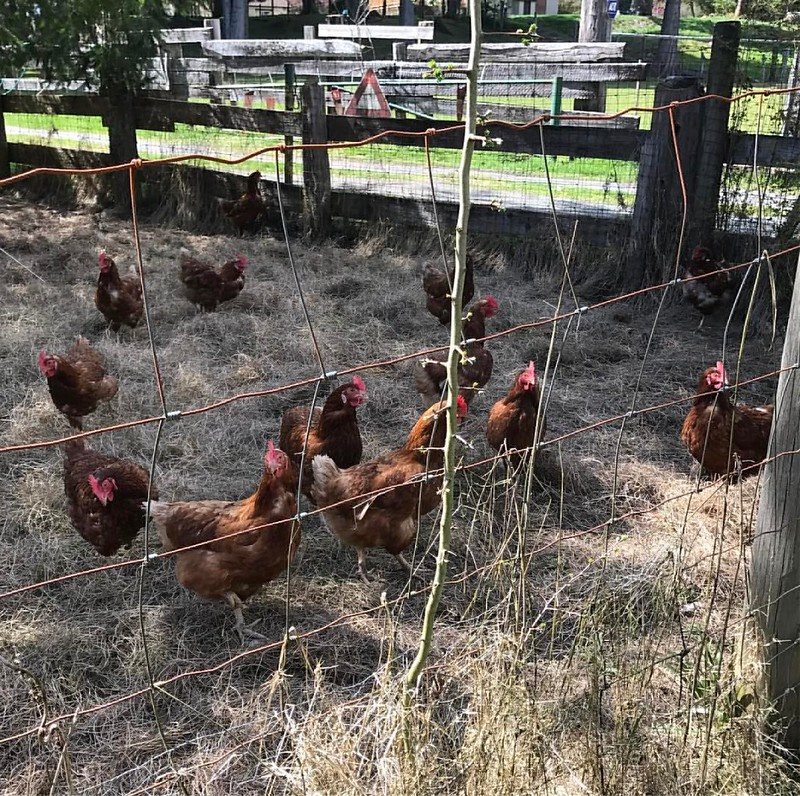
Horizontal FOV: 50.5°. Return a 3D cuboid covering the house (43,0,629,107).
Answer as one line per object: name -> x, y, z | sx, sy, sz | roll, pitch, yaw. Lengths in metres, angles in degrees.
house -> -0.837, -4.915, 11.712 | 8.245, 0.561, 1.430 | 5, 5, 4

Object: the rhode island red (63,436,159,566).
rhode island red -> -1.451, 0.467, 4.187 | 0.390, 0.506, 0.657 | -15, 33, -22

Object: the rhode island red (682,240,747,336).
rhode island red -> 2.427, -0.953, 6.660 | 0.236, 0.536, 0.298 | 23, 56, -11

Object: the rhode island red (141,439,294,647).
rhode island red -> -0.707, 0.583, 3.598 | 0.780, 0.796, 0.400 | -3, 12, 15

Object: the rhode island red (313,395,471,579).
rhode island red -> -0.072, 0.396, 3.969 | 0.778, 0.810, 0.458 | -4, 14, -32
